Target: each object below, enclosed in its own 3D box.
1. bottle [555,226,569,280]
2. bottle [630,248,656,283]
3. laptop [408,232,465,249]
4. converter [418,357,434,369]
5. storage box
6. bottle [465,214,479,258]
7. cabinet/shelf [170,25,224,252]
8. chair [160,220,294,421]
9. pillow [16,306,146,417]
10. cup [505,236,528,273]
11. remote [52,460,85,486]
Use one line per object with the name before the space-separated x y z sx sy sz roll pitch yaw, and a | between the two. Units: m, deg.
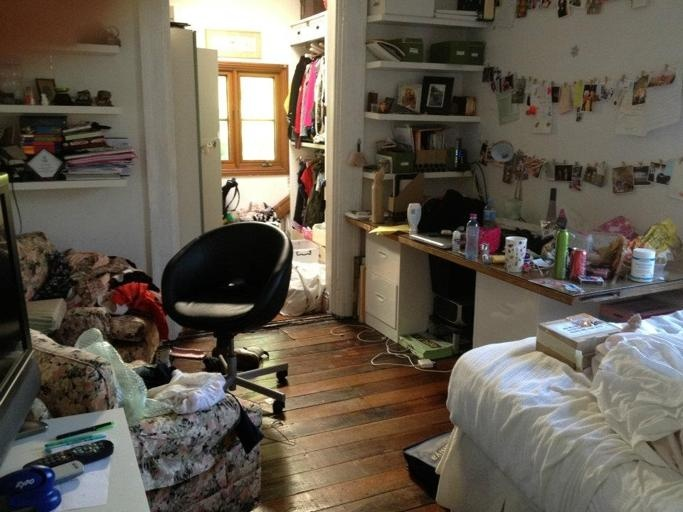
bottle | 1.123 -0.008 2.579 0.056 0.257 0.047 0 12 10
bottle | 1.524 0.052 2.575 0.120 0.177 0.113 -1 4 0
laptop | 0.627 -0.112 3.258 0.233 0.085 0.413 -10 14 -36
converter | 0.573 0.723 3.401 0.121 0.045 0.095 -1 11 4
storage box | 0.961 0.337 2.020 0.288 0.145 0.223 -7 16 -19
bottle | 0.766 -0.122 2.960 0.087 0.260 0.196 1 12 15
cabinet/shelf | -1.173 -0.937 4.055 0.326 1.683 0.738 -3 11 -4
chair | -0.661 0.380 2.958 0.721 0.997 0.662 3 13 12
pillow | -0.920 0.361 1.707 0.408 0.412 0.165 7 -39 -46
cup | 0.942 -0.013 2.709 0.122 0.187 0.093 -1 11 3
remote | -0.583 0.465 1.084 0.060 0.028 0.041 -10 14 -35
